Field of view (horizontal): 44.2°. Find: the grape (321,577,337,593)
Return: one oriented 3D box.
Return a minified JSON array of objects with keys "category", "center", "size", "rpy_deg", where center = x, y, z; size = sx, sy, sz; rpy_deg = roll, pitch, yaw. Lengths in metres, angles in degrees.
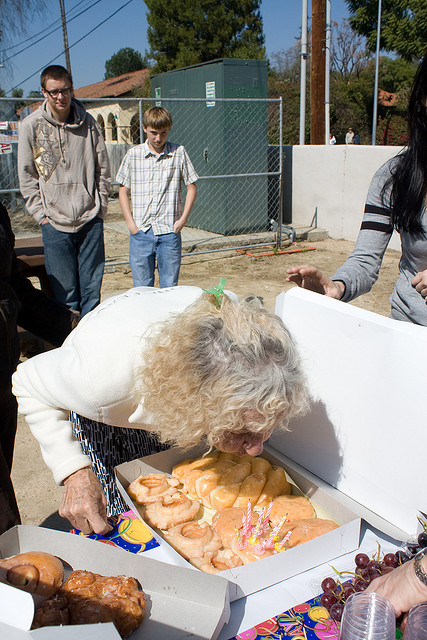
[{"category":"grape","center":[0.235,0.541,1.070],"size":[0.026,0.031,0.025],"rpy_deg":[-29,62,1]}]

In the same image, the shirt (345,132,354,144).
[{"category":"shirt","center":[5.116,-6.802,19.718],"size":[0.219,0.505,0.802],"rpy_deg":[4,11,14]}]

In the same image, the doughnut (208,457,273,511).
[{"category":"doughnut","center":[0.048,0.479,1.489],"size":[0.089,0.044,0.167],"rpy_deg":[-2,12,45]}]

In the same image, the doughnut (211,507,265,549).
[{"category":"doughnut","center":[0.044,0.536,1.362],"size":[0.093,0.033,0.097],"rpy_deg":[2,11,21]}]

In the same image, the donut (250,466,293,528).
[{"category":"donut","center":[0.167,0.495,1.507],"size":[0.103,0.031,0.082],"rpy_deg":[-52,11,-8]}]

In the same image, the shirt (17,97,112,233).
[{"category":"shirt","center":[-1.287,-1.354,4.497],"size":[0.790,1.039,0.457],"rpy_deg":[-8,38,-21]}]

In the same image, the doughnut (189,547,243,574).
[{"category":"doughnut","center":[0.005,0.553,1.202],"size":[0.085,0.027,0.083],"rpy_deg":[2,5,5]}]

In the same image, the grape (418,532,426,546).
[{"category":"grape","center":[0.415,0.434,1.039],"size":[0.009,0.020,0.024],"rpy_deg":[3,14,13]}]

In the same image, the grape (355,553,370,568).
[{"category":"grape","center":[0.327,0.530,1.154],"size":[0.025,0.028,0.024],"rpy_deg":[1,6,7]}]

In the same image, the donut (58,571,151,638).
[{"category":"donut","center":[-0.205,0.526,0.952],"size":[0.155,0.094,0.166],"rpy_deg":[-1,10,-12]}]

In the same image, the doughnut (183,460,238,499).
[{"category":"doughnut","center":[-0.025,0.471,1.573],"size":[0.091,0.026,0.099],"rpy_deg":[-1,15,34]}]

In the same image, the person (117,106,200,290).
[{"category":"person","center":[-0.547,-1.145,5.134],"size":[0.801,1.631,0.720],"rpy_deg":[-1,11,-10]}]

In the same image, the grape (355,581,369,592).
[{"category":"grape","center":[0.301,0.537,1.062],"size":[0.027,0.017,0.035],"rpy_deg":[4,11,18]}]

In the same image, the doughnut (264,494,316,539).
[{"category":"doughnut","center":[0.216,0.542,1.445],"size":[0.137,0.151,0.044],"rpy_deg":[-8,59,3]}]

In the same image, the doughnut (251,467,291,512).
[{"category":"doughnut","center":[0.167,0.492,1.530],"size":[0.104,0.041,0.074],"rpy_deg":[-40,21,-32]}]

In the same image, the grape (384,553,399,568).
[{"category":"grape","center":[0.381,0.515,1.122],"size":[0.022,0.026,0.021],"rpy_deg":[-21,35,3]}]

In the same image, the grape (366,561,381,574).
[{"category":"grape","center":[0.339,0.525,1.111],"size":[0.025,0.028,0.023],"rpy_deg":[0,32,18]}]

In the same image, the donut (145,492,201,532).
[{"category":"donut","center":[-0.114,0.508,1.410],"size":[0.080,0.031,0.096],"rpy_deg":[2,20,17]}]

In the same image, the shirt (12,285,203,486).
[{"category":"shirt","center":[-0.382,0.139,1.591],"size":[0.379,0.264,0.663],"rpy_deg":[13,-20,-36]}]

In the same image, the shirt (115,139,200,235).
[{"category":"shirt","center":[-0.562,-1.292,5.164],"size":[0.798,0.895,0.433],"rpy_deg":[-1,11,-10]}]

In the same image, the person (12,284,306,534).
[{"category":"person","center":[-0.160,0.212,1.419],"size":[0.816,0.615,0.455],"rpy_deg":[5,11,22]}]

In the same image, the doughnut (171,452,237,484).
[{"category":"doughnut","center":[-0.031,0.453,1.596],"size":[0.151,0.035,0.147],"rpy_deg":[-4,8,14]}]

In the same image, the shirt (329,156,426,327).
[{"category":"shirt","center":[0.576,-0.285,1.831],"size":[0.299,0.577,0.488],"rpy_deg":[1,11,1]}]

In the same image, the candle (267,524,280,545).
[{"category":"candle","center":[0.146,0.530,1.291],"size":[0.011,0.012,0.069],"rpy_deg":[19,67,29]}]

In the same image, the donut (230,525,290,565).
[{"category":"donut","center":[0.106,0.542,1.269],"size":[0.130,0.029,0.135],"rpy_deg":[-2,10,-19]}]

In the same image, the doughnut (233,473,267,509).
[{"category":"doughnut","center":[0.106,0.486,1.500],"size":[0.053,0.046,0.164],"rpy_deg":[15,23,26]}]
